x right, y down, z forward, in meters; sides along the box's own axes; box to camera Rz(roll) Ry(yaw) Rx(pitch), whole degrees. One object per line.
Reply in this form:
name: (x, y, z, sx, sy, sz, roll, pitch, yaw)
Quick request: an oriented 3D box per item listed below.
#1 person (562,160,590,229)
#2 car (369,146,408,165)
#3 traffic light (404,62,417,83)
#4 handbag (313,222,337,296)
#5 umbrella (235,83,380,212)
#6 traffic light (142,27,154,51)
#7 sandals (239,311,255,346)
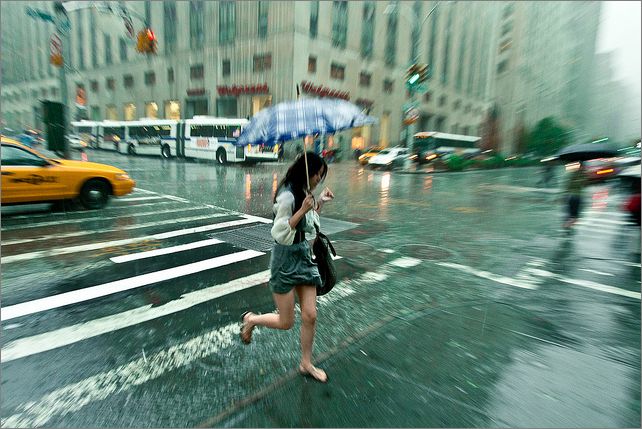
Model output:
person: (6.788, -0.484, 11.452, 0.463, 1.787, 0.733, 7, 11, 31)
car: (5.060, -4.191, 31.389, 1.352, 0.650, 2.479, 5, 17, 45)
traffic light: (5.312, -8.177, 25.079, 0.489, 1.204, 1.277, 3, 10, 10)
handbag: (0.016, 0.658, 5.876, 0.285, 0.758, 0.548, 1, 13, -15)
umbrella: (-0.203, -0.981, 6.495, 1.905, 1.610, 1.873, -13, 10, -33)
traffic light: (-5.084, -5.160, 12.748, 0.253, 0.568, 0.572, -3, 10, -21)
sandals: (-1.085, 1.686, 6.275, 0.210, 0.516, 0.192, -4, 19, -20)
